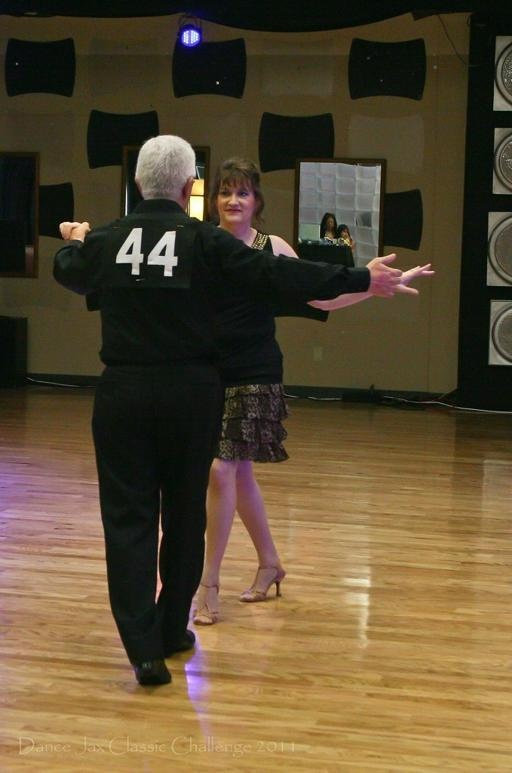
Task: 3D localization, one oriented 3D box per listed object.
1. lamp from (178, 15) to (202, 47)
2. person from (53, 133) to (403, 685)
[{"bbox_3d":[-0.637,-3.347,7.367,0.246,0.259,0.204,3,6,12],"label":"lamp"},{"bbox_3d":[-0.137,0.136,1.760,0.633,1.079,0.300,1,6,-9],"label":"person"}]
